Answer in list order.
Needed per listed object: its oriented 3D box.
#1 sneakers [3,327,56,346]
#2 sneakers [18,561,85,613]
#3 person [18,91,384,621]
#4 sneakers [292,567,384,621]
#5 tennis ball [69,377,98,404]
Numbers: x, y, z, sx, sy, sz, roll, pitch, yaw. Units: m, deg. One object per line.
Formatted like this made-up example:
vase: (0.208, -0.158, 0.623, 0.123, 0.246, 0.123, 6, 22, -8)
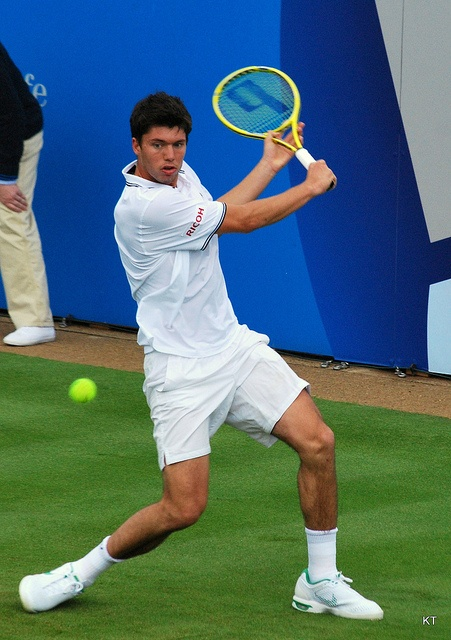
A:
sneakers: (-1.746, 0.146, 5.983, 0.446, 0.161, 0.161, -2, 12, -42)
sneakers: (-0.471, 0.715, 1.821, 0.104, 0.077, 0.230, -6, -2, 5)
person: (-0.050, 0.166, 1.898, 0.953, 1.256, 0.435, 0, 6, 2)
sneakers: (0.295, 0.750, 1.838, 0.278, 0.126, 0.089, 4, -2, 15)
tennis ball: (-0.859, 0.429, 4.067, 0.163, 0.156, 0.169, -11, -10, -2)
